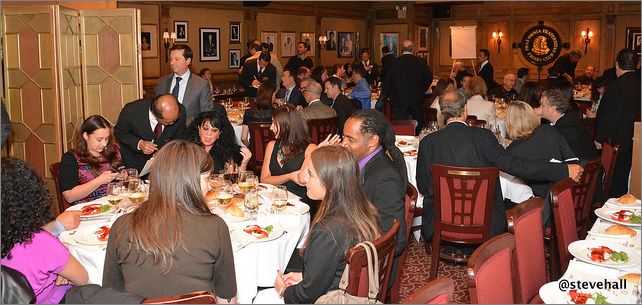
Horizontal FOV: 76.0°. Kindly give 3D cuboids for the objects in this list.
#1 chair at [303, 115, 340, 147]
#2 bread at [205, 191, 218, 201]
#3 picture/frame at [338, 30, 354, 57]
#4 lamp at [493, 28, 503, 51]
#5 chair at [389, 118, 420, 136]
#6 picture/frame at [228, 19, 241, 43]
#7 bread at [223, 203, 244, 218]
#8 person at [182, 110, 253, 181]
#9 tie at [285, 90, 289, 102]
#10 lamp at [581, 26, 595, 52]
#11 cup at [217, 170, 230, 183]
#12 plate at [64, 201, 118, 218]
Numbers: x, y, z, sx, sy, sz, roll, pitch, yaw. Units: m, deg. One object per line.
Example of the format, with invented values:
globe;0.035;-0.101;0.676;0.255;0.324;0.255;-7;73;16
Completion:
chair;-0.020;-0.414;7.089;0.521;0.697;0.477;-3;43;-7
bread;-1.194;0.477;4.489;0.160;0.047;0.153;-6;13;-29
picture/frame;0.941;-4.305;16.128;0.112;1.013;1.131;3;9;41
lamp;6.972;-4.429;16.326;0.393;0.848;0.131;3;12;13
chair;1.463;-0.457;7.272;0.369;0.443;0.318;1;6;10
picture/frame;-2.635;-3.709;12.698;0.075;0.653;0.411;10;16;40
bread;-0.896;0.612;4.280;0.216;0.059;0.107;22;39;39
person;-1.288;-0.133;5.254;0.741;0.864;0.402;-18;5;-2
tie;-0.736;-1.245;9.129;0.053;0.268;0.047;9;-12;-5
lamp;9.666;-4.093;15.041;0.398;0.897;0.167;7;14;29
cup;-1.061;0.252;4.510;0.119;0.116;0.121;3;-4;0
plate;-2.405;0.608;4.405;0.295;0.037;0.280;9;15;14
